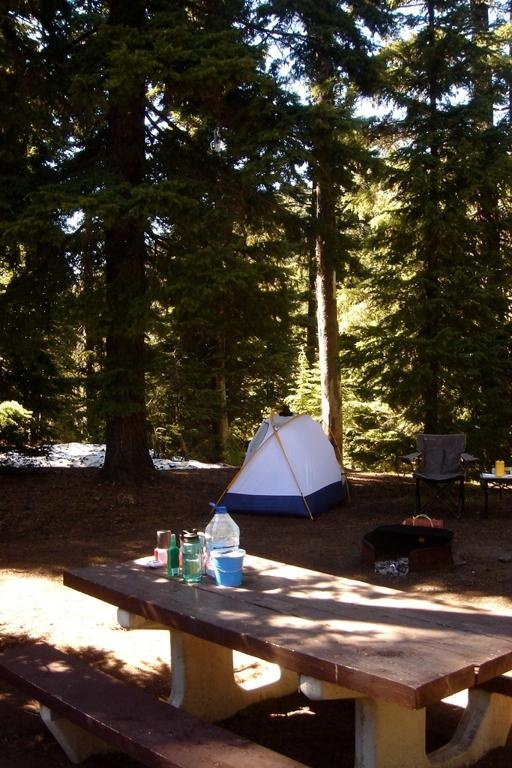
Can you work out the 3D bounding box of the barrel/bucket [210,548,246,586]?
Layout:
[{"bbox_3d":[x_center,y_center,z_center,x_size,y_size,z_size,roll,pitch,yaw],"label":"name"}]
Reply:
[{"bbox_3d":[-0.116,0.748,2.803,0.143,0.109,0.146,-1,-3,0],"label":"barrel/bucket"}]

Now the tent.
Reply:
[{"bbox_3d":[0.394,0.991,8.663,1.137,0.852,1.414,1,7,21],"label":"tent"}]

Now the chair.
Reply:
[{"bbox_3d":[2.076,1.039,8.026,0.814,0.865,0.771,2,-3,6],"label":"chair"}]
